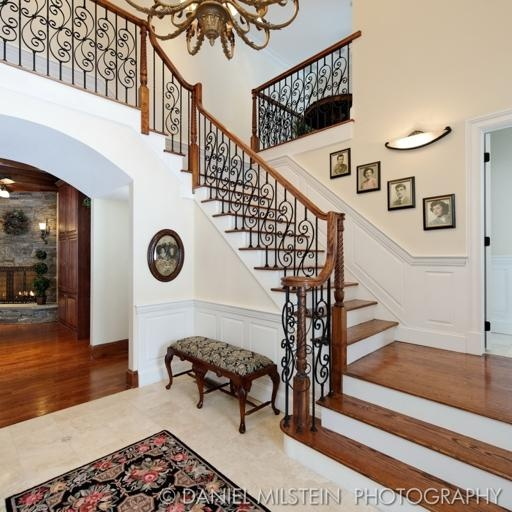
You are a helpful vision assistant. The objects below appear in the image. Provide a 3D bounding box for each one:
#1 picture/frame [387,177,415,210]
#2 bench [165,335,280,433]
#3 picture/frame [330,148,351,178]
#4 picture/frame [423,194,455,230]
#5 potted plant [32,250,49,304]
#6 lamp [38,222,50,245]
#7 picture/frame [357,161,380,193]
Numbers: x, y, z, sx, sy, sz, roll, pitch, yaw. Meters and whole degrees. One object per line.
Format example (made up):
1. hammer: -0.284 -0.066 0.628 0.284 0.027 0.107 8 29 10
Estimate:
1. picture/frame: 1.546 -0.664 4.624 0.259 0.341 0.024 -4 33 19
2. bench: -0.383 1.183 4.341 1.196 0.615 0.513 7 10 42
3. picture/frame: 1.015 -1.094 5.143 0.029 0.419 0.323 7 -7 -40
4. picture/frame: 1.848 -0.439 4.372 0.288 0.410 0.035 -3 42 26
5. potted plant: -4.078 0.401 8.229 0.283 0.928 0.709 -5 11 -27
6. lamp: -4.133 -0.446 8.488 0.189 0.417 0.145 -5 10 -28
7. picture/frame: 1.279 -0.879 4.868 0.029 0.430 0.323 1 0 -42
